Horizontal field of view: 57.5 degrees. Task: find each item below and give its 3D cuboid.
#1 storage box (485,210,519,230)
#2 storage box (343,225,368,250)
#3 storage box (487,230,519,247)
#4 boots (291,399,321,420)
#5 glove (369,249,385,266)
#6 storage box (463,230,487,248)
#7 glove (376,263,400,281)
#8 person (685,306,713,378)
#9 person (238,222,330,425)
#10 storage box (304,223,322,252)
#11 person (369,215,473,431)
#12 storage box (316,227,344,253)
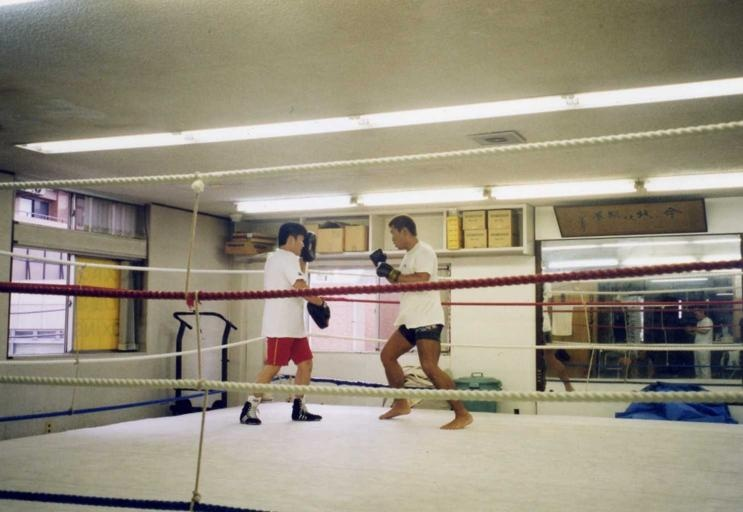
[{"bbox_3d":[1.744,-0.488,8.858,0.428,0.268,0.197,0,0,0],"label":"storage box"},{"bbox_3d":[-0.169,-0.230,9.537,0.423,0.401,0.310,-2,-9,17],"label":"storage box"},{"bbox_3d":[1.721,-0.226,8.814,0.262,0.143,0.241,1,-2,-22],"label":"storage box"},{"bbox_3d":[-0.582,1.499,6.606,0.398,0.244,0.137,0,-7,-4],"label":"boots"},{"bbox_3d":[0.062,-0.002,6.061,0.148,0.141,0.038,-32,8,-4],"label":"glove"},{"bbox_3d":[1.380,-0.234,8.941,0.351,0.235,0.210,2,4,26],"label":"storage box"},{"bbox_3d":[0.131,0.126,5.892,0.204,0.120,0.081,31,27,26],"label":"glove"},{"bbox_3d":[4.001,1.035,8.207,0.296,0.849,0.145,0,0,22],"label":"person"},{"bbox_3d":[-0.820,0.631,6.390,0.775,1.929,0.881,0,0,-11],"label":"person"},{"bbox_3d":[-0.583,-0.154,6.741,0.186,0.310,0.234,-1,-5,15],"label":"storage box"},{"bbox_3d":[0.443,0.591,6.166,0.920,1.977,0.987,0,0,15],"label":"person"},{"bbox_3d":[-0.562,-0.223,9.471,0.363,0.284,0.113,-3,-10,21],"label":"storage box"}]
